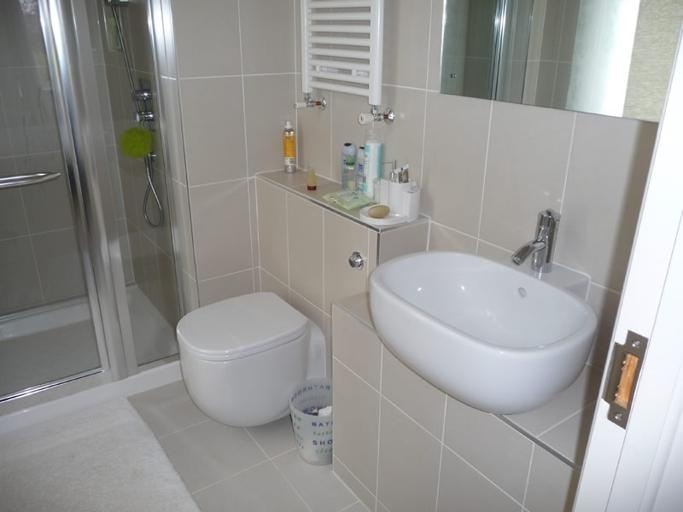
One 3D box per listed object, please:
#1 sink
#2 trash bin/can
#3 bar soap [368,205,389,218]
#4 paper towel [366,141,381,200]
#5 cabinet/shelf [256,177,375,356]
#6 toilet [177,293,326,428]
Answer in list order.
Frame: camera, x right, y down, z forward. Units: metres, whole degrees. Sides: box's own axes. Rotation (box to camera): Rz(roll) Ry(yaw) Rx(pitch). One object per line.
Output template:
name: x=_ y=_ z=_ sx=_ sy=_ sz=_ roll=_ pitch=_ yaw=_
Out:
sink: x=0.385 y=0.181 z=1.502 sx=0.635 sy=0.422 sz=0.736 roll=-2 pitch=23 yaw=-7
trash bin/can: x=-0.133 y=0.751 z=2.194 sx=0.179 sy=0.388 sz=0.188 roll=-12 pitch=28 yaw=-34
bar soap: x=0.140 y=-0.173 z=1.879 sx=0.066 sy=0.045 sz=0.045 roll=-9 pitch=3 yaw=-44
paper towel: x=0.131 y=-0.358 z=2.041 sx=0.069 sy=0.238 sz=0.063 roll=4 pitch=22 yaw=10
cabinet/shelf: x=-0.148 y=-0.029 z=2.233 sx=0.330 sy=0.817 sz=0.569 roll=-13 pitch=27 yaw=-28
toilet: x=-0.416 y=0.387 z=2.291 sx=0.618 sy=0.539 sz=0.469 roll=-14 pitch=27 yaw=-34
